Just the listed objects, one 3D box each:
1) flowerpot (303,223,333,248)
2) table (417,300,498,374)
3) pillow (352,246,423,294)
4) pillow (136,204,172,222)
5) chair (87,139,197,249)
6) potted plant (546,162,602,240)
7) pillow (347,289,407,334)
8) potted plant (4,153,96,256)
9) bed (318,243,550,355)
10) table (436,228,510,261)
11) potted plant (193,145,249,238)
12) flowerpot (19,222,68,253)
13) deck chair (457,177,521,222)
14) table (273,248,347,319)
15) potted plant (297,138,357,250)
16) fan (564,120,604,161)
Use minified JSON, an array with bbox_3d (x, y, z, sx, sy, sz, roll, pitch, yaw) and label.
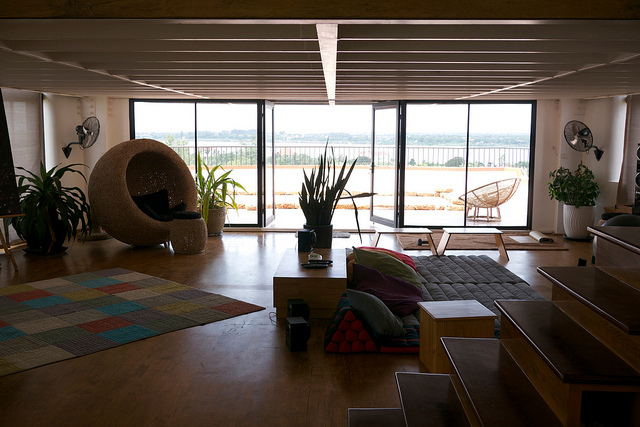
[{"bbox_3d":[-0.027,0.273,5.024,0.322,0.216,0.311,2,6,18],"label":"flowerpot"},{"bbox_3d":[1.092,1.004,3.292,0.544,0.456,0.527,-2,11,-14],"label":"table"},{"bbox_3d":[0.751,0.576,4.476,0.582,0.161,0.530,24,0,-10],"label":"pillow"},{"bbox_3d":[-2.822,0.021,7.018,0.387,0.106,0.369,12,0,-15],"label":"pillow"},{"bbox_3d":[-2.965,-0.369,7.082,1.532,1.829,1.538,0,11,-6],"label":"chair"},{"bbox_3d":[4.805,-0.160,7.787,0.924,1.258,0.982,1,-2,-27],"label":"potted plant"},{"bbox_3d":[0.479,0.871,3.507,0.425,0.120,0.382,25,17,-26],"label":"pillow"},{"bbox_3d":[-4.374,-0.161,6.728,1.121,1.542,2.769,-5,12,-29],"label":"potted plant"},{"bbox_3d":[0.992,0.830,4.098,1.208,0.383,1.472,-3,8,-3],"label":"bed"},{"bbox_3d":[2.413,0.448,6.539,1.528,0.431,0.664,-3,10,-25],"label":"table"},{"bbox_3d":[-2.005,-0.302,8.084,1.092,1.190,1.048,5,5,-7],"label":"potted plant"},{"bbox_3d":[-4.346,0.393,6.431,0.530,0.512,0.612,1,6,3],"label":"flowerpot"},{"bbox_3d":[3.947,-0.336,9.372,1.011,0.986,0.903,5,12,23],"label":"deck chair"},{"bbox_3d":[-0.082,0.750,4.303,0.707,0.564,0.901,1,11,3],"label":"table"},{"bbox_3d":[0.047,-0.157,5.117,0.742,1.273,0.749,-3,-13,38],"label":"potted plant"},{"bbox_3d":[4.922,-1.399,7.622,0.330,0.610,0.655,0,7,-13],"label":"fan"}]
